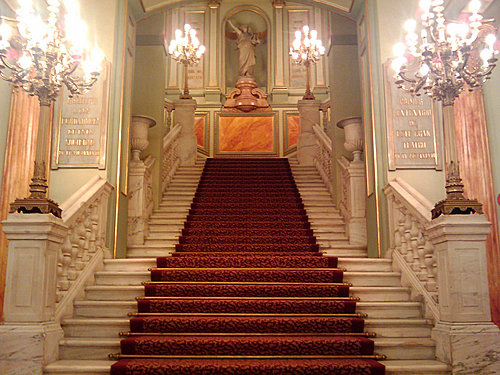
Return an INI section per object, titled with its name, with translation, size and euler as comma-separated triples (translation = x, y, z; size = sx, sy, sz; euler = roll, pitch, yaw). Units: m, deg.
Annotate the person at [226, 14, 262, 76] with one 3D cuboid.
[person]
translation = -0.137, -4.532, 13.149
size = 0.861, 1.910, 0.935
euler = -2, 5, -20
